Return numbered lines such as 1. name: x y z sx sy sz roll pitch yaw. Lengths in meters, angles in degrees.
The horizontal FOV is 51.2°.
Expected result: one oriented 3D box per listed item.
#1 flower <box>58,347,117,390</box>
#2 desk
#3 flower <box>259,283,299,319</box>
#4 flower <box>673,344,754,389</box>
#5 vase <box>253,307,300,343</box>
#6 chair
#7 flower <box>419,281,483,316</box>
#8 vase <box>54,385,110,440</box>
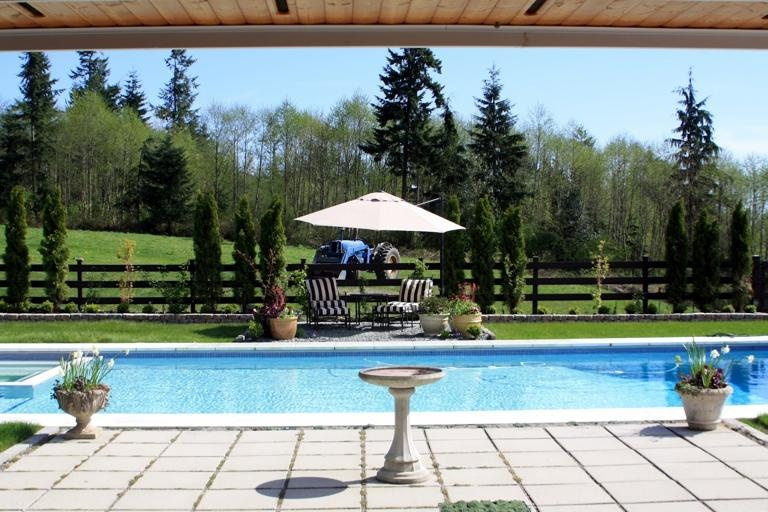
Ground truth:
1. flower: -4.420 1.678 11.873 0.707 0.633 0.784 -7 -14 32
2. desk: 0.086 2.222 10.809 1.301 1.510 1.331 -2 -2 28
3. flower: -2.488 1.057 18.457 0.924 1.068 0.697 0 -22 -9
4. flower: 5.946 1.994 14.338 1.830 1.022 1.049 2 -3 -19
5. vase: -2.457 1.576 18.091 0.776 0.541 0.784 1 -8 -12
6. chair: -0.426 1.106 19.463 2.963 1.264 1.762 1 -12 -4
7. flower: 1.590 1.056 18.823 1.015 0.851 1.274 -3 -1 4
8. vase: -4.399 2.242 11.665 0.612 0.746 0.547 1 -4 -1
